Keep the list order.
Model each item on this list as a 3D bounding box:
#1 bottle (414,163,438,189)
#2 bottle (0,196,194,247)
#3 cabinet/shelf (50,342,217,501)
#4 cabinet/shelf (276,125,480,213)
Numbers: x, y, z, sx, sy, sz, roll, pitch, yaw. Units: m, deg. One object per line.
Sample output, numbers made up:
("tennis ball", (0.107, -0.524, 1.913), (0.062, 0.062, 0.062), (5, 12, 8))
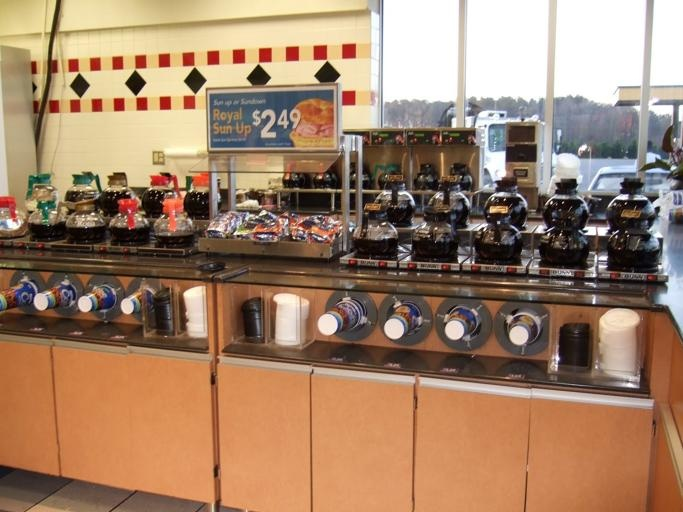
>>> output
("bottle", (0.653, -0.619, 4.402), (0.180, 0.209, 0.219), (1, 0, 1))
("bottle", (-1.023, -0.155, 2.545), (0.803, 0.209, 0.315), (2, 8, 13))
("cabinet/shelf", (-0.778, 0.603, 2.129), (0.624, 0.496, 0.218), (2, 8, 17))
("cabinet/shelf", (0.198, -0.738, 4.527), (1.593, 0.619, 0.488), (6, -3, 25))
